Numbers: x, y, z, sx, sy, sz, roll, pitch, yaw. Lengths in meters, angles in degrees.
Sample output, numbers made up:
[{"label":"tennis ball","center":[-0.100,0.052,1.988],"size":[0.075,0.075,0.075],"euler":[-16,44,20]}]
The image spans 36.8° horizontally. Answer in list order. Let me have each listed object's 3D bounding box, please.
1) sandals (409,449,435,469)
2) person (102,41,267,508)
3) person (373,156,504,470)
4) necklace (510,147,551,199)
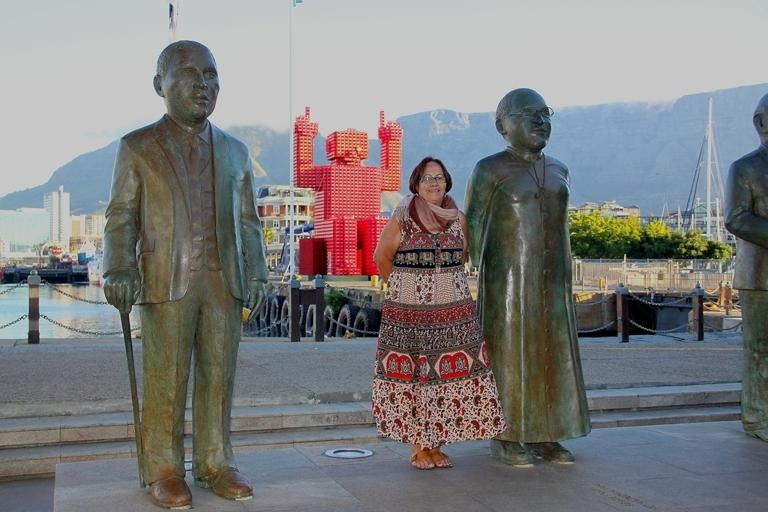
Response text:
[{"label":"sandals","center":[0.327,1.663,9.549],"size":[0.148,0.106,0.277],"euler":[1,-7,-6]},{"label":"person","center":[-1.543,0.112,8.983],"size":[1.245,3.521,0.726],"euler":[1,6,-6]},{"label":"person","center":[0.448,0.459,9.638],"size":[1.071,2.519,0.587],"euler":[1,6,0]},{"label":"necklace","center":[1.300,-0.686,10.095],"size":[0.375,0.586,0.496],"euler":[-2,1,19]}]
